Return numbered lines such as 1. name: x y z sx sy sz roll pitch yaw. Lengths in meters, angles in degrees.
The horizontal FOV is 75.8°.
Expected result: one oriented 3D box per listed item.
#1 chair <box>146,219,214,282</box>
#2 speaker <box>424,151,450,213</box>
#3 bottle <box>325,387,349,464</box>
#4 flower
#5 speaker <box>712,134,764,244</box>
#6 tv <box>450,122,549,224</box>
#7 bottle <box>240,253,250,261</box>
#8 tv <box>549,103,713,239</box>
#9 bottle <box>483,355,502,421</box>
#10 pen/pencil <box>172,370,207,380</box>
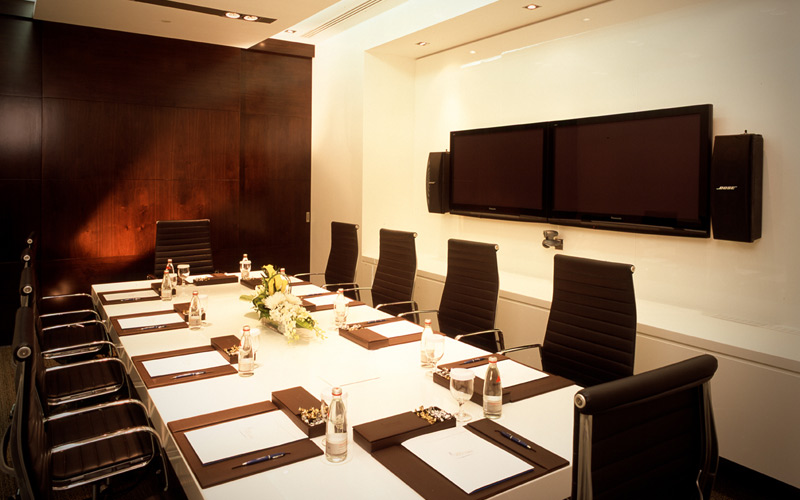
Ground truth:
1. chair: -2.549 -0.042 6.202 0.654 1.060 0.650 -3 7 -28
2. speaker: 0.482 -0.882 6.734 0.317 0.776 0.190 0 9 11
3. bottle: -0.343 0.909 2.712 0.122 0.370 0.131 -2 9 0
4. flower: -0.938 0.393 4.096 0.454 0.343 0.735 -6 14 -40
5. speaker: 2.822 -0.522 4.327 0.391 0.877 0.259 3 10 26
6. tv: 1.195 -0.917 6.058 0.123 0.927 1.216 -4 7 -38
7. bottle: -2.079 0.089 6.879 0.092 0.061 0.092 4 3 0
8. tv: 2.258 -0.772 4.958 0.133 0.986 1.335 -4 8 -41
9. bottle: 0.550 0.800 3.033 0.134 0.341 0.137 -2 9 0
10. pen/pencil: -1.371 0.816 3.352 0.136 0.029 0.026 -6 -3 -25
